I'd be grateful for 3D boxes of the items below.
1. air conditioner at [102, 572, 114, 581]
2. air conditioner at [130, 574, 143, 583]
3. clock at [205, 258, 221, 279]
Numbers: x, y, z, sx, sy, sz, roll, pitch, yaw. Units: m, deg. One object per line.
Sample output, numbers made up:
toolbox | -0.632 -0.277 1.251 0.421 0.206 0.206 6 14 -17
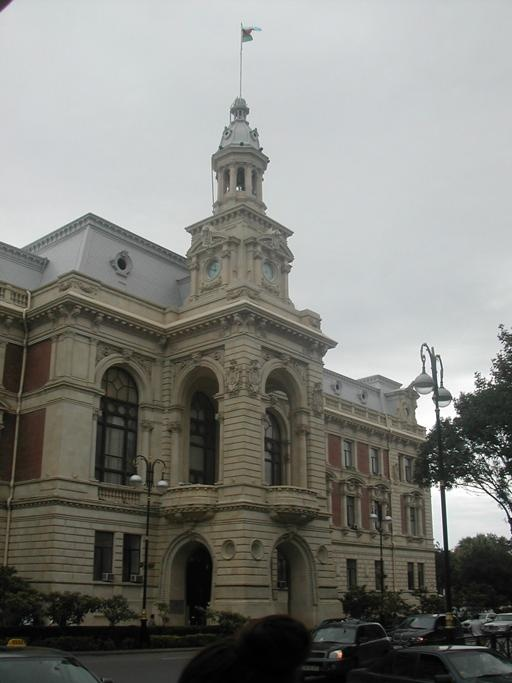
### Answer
air conditioner | -6.797 10.860 34.310 0.356 0.412 0.633 -5 -14 15
air conditioner | -5.705 11.322 35.438 0.568 0.345 0.365 3 16 -2
clock | -2.435 -4.110 42.186 1.096 1.170 0.137 -23 -38 35
